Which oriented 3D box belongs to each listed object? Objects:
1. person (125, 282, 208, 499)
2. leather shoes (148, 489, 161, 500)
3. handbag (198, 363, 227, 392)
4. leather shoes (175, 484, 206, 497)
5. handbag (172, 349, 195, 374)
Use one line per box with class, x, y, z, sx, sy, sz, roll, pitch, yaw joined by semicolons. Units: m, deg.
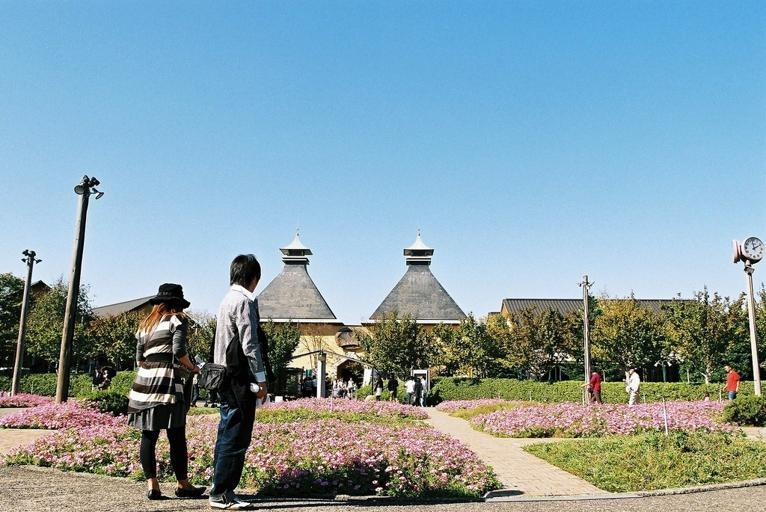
person;-3.690;2.283;11.807;1.163;3.605;0.804;-2;-5;28
leather shoes;-3.797;3.973;11.562;0.219;0.162;0.158;2;-5;-18
handbag;-2.768;1.968;11.287;0.372;0.516;0.192;9;3;26
leather shoes;-3.247;3.993;11.795;0.517;0.237;0.199;2;1;-17
handbag;-3.341;1.796;11.732;0.293;0.631;0.445;-4;-1;-5
